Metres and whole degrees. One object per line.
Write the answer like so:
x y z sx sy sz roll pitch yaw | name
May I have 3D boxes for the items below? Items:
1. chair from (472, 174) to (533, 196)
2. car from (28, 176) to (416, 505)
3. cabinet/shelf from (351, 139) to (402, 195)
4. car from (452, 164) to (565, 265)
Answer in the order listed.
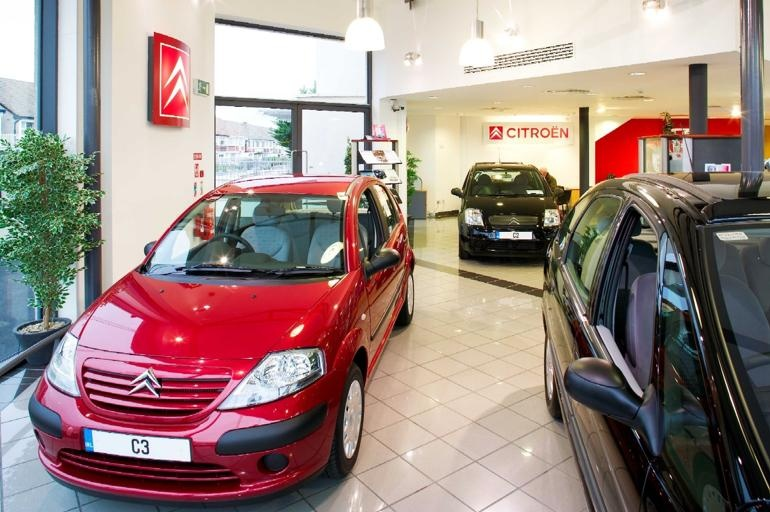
2.116 -1.267 8.218 0.525 0.462 0.868 0 2 1 | chair
-0.692 0.148 3.070 1.326 0.991 2.310 1 11 10 | car
-0.088 -1.627 9.984 0.875 1.712 0.528 -7 9 -22 | cabinet/shelf
2.041 -0.866 8.398 1.265 1.092 2.214 0 7 6 | car
